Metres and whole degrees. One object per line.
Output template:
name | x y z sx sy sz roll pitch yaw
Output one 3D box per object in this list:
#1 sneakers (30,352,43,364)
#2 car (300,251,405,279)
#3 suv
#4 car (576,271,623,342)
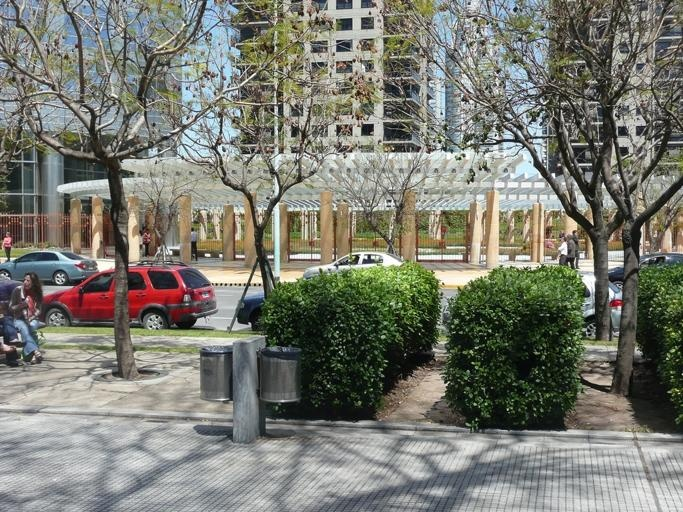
sneakers | -5.526 1.843 14.401 0.152 0.194 0.416 1 -8 -25
car | 0.391 0.259 27.703 2.491 0.899 1.394 2 -4 -1
suv | -5.070 0.950 18.974 3.680 1.431 1.753 3 -1 7
car | 5.507 1.067 16.827 0.823 1.567 2.928 2 7 18
